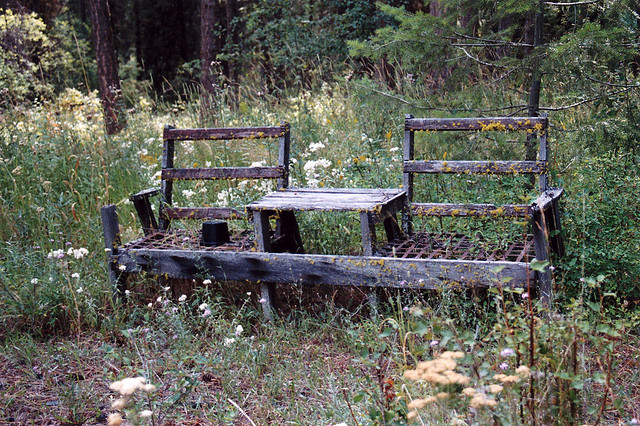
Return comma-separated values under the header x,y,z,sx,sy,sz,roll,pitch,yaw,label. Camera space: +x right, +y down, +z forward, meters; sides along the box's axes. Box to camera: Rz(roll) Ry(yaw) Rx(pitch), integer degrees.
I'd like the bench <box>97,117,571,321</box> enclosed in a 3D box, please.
x,y,z,sx,sy,sz,roll,pitch,yaw,label
0.227,-0.087,6.594,4.532,1.859,2.795,5,17,21,bench
